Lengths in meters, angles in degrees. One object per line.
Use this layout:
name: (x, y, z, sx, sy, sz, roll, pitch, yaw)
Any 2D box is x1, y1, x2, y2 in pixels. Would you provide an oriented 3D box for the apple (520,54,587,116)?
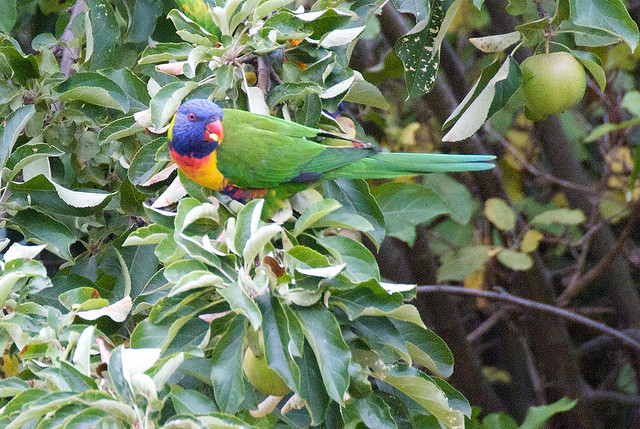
apple: (0.902, -0.503, 3.148, 0.230, 0.273, 0.265, -2, -1, -7)
